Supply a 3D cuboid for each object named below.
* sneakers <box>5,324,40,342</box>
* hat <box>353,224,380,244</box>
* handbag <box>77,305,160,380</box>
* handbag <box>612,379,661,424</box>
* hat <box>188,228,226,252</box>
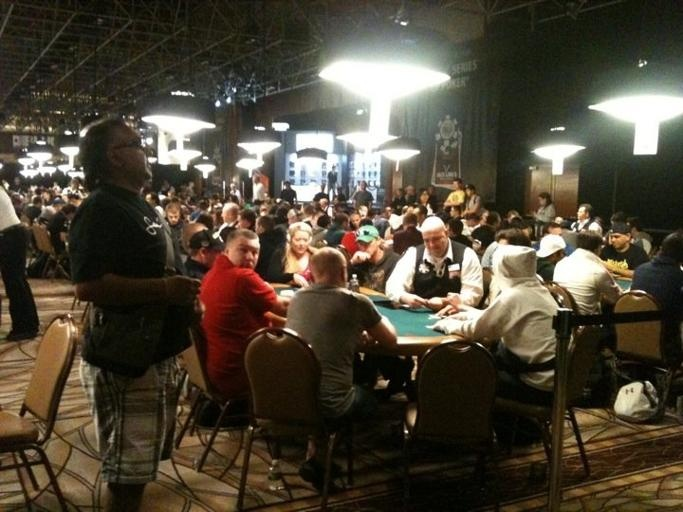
[{"bbox_3d":[-3.439,0.854,6.106,0.341,0.152,0.123,5,-5,-32],"label":"sneakers"},{"bbox_3d":[0.279,-0.213,5.585,0.159,0.121,0.237,-9,-14,19],"label":"hat"},{"bbox_3d":[-0.945,0.334,2.544,0.315,0.303,0.300,16,19,-7],"label":"handbag"},{"bbox_3d":[2.319,1.147,4.525,0.297,0.310,0.308,-2,-1,6],"label":"handbag"},{"bbox_3d":[-1.136,-0.139,4.829,0.263,0.144,0.177,-6,9,-34],"label":"hat"}]
